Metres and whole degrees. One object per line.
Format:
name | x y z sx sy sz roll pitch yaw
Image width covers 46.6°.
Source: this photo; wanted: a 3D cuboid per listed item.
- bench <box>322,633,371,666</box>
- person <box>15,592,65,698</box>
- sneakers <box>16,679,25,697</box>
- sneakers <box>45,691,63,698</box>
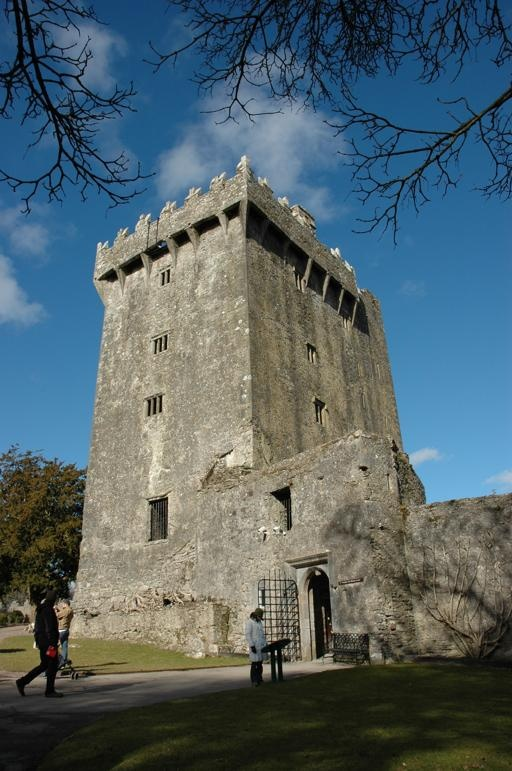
bench | 1.911 5.430 12.379 0.412 0.599 1.116 5 -20 -24
person | -3.038 3.637 8.479 0.563 1.389 0.574 2 -20 -17
sneakers | -3.214 4.108 8.176 0.097 0.233 0.395 3 -20 -19
sneakers | -2.784 4.244 8.238 0.251 0.104 0.091 2 -14 -6
